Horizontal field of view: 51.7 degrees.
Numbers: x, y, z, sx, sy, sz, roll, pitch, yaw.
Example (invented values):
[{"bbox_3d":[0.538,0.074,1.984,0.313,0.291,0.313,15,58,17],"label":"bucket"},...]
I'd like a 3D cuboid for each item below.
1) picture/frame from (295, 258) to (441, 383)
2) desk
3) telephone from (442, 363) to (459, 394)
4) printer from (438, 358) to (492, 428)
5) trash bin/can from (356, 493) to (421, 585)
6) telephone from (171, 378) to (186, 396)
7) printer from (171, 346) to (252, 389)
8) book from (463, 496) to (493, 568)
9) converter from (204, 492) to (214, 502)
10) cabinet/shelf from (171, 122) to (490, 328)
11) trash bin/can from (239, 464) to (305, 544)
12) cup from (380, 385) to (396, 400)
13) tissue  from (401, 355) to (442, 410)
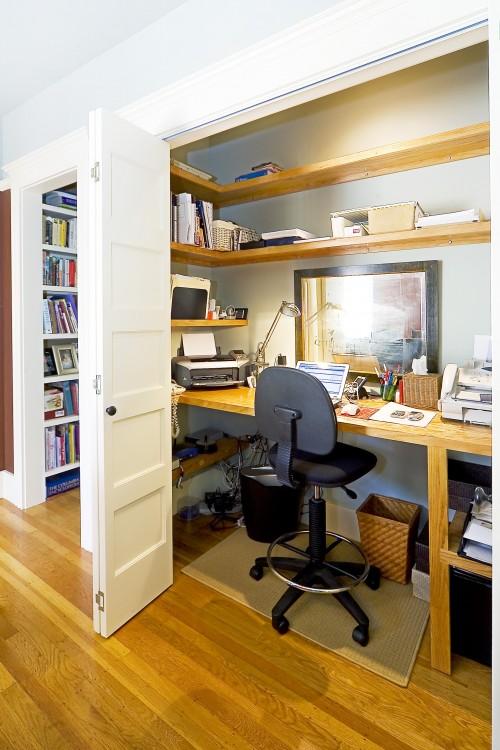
[{"bbox_3d":[0.587,-0.260,2.463,0.563,0.435,0.024,6,10,41],"label":"picture/frame"},{"bbox_3d":[0.408,0.479,2.362,1.488,0.797,0.713,9,14,42],"label":"desk"},{"bbox_3d":[0.788,-0.006,2.031,0.043,0.163,0.058,0,-37,35],"label":"telephone"},{"bbox_3d":[0.811,0.056,1.916,0.170,0.115,0.229,6,37,31],"label":"printer"},{"bbox_3d":[0.645,0.692,2.414,0.326,0.431,0.292,2,4,39],"label":"trash bin/can"},{"bbox_3d":[-0.350,0.070,2.506,0.049,0.069,0.076,-3,-4,10],"label":"telephone"},{"bbox_3d":[-0.195,-0.005,2.689,0.265,0.140,0.197,-3,7,-32],"label":"printer"},{"bbox_3d":[0.790,0.538,1.784,0.153,0.052,0.220,5,36,33],"label":"book"},{"bbox_3d":[-0.241,0.720,3.042,0.039,0.055,0.053,5,1,23],"label":"converter"},{"bbox_3d":[0.320,-0.785,2.507,1.570,0.493,0.622,5,12,29],"label":"cabinet/shelf"},{"bbox_3d":[0.086,0.625,2.711,0.391,0.437,0.331,0,5,5],"label":"trash bin/can"},{"bbox_3d":[0.627,0.082,2.329,0.054,0.066,0.057,3,3,0],"label":"cup"},{"bbox_3d":[0.735,0.039,2.196,0.188,0.295,0.149,4,6,40],"label":"tissue "}]
